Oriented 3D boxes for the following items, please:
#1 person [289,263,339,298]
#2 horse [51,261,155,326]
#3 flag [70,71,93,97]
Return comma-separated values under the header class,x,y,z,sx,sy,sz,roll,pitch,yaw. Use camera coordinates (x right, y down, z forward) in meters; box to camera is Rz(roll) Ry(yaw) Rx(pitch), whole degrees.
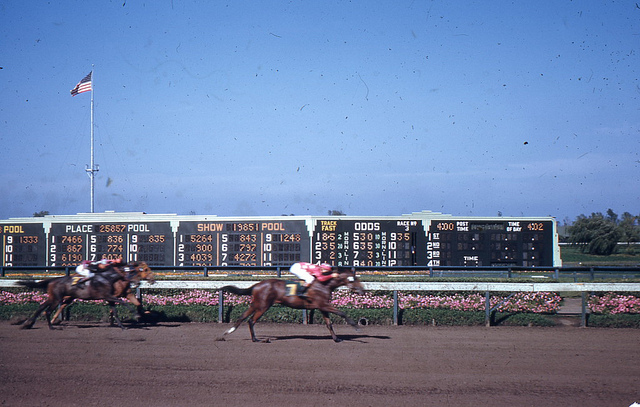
class,x,y,z,sx,sy,sz,roll,pitch,yaw
person,-0.212,2.839,34.960,2.867,1.326,0.838,3,-19,10
horse,-8.403,3.511,36.350,3.925,2.445,2.211,2,-6,-14
flag,-12.824,-6.468,50.445,0.895,1.314,2.044,2,-6,-16
